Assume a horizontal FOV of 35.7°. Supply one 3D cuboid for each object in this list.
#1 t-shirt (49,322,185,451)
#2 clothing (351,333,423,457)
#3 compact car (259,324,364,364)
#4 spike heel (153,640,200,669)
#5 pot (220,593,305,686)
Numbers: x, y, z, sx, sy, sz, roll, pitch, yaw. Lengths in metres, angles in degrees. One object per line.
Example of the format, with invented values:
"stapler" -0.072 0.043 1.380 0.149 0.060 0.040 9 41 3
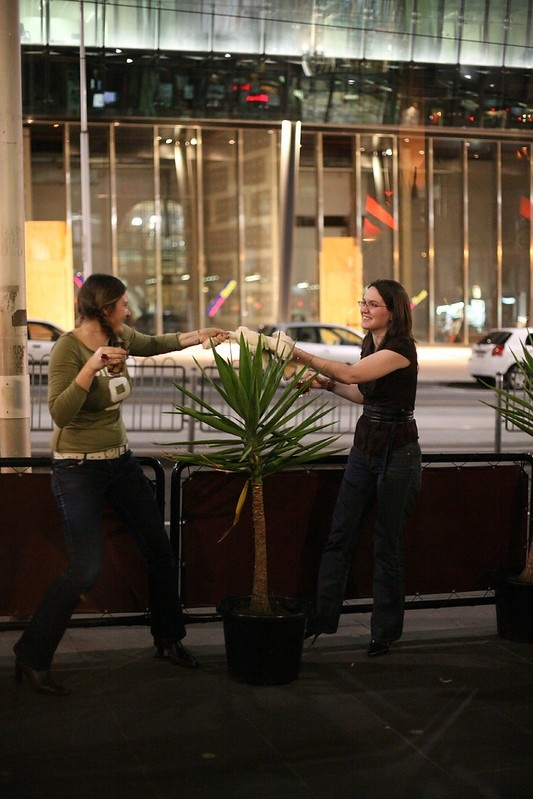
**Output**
"t-shirt" -0.658 -0.133 3.876 0.611 0.514 0.946 -1 9 4
"clothing" 0.627 -0.023 4.414 0.329 0.620 0.288 1 5 6
"compact car" 1.235 -1.476 24.337 3.061 1.123 1.564 -3 7 -21
"spike heel" -0.460 1.300 4.317 0.309 0.117 0.093 7 7 33
"pot" 0.003 1.204 4.108 0.493 0.316 0.465 1 -11 0
